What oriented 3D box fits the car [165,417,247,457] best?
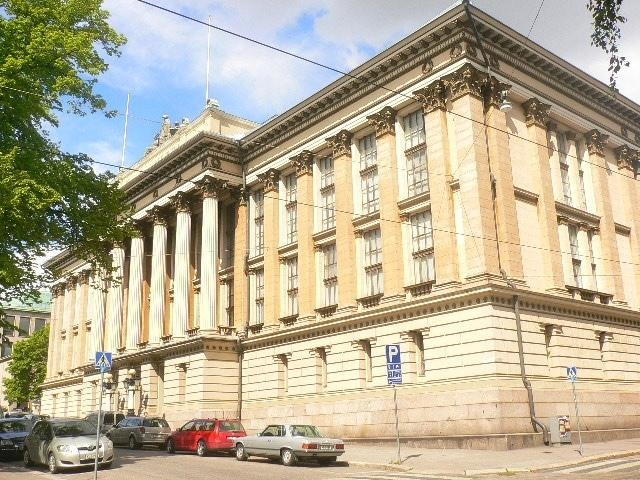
[{"bbox_3d":[-6.205,10.692,38.049,4.222,2.092,1.219,-18,-31,32],"label":"car"}]

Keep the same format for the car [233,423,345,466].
[{"bbox_3d":[-1.558,9.826,33.797,5.119,2.058,1.540,-15,-29,28],"label":"car"}]
